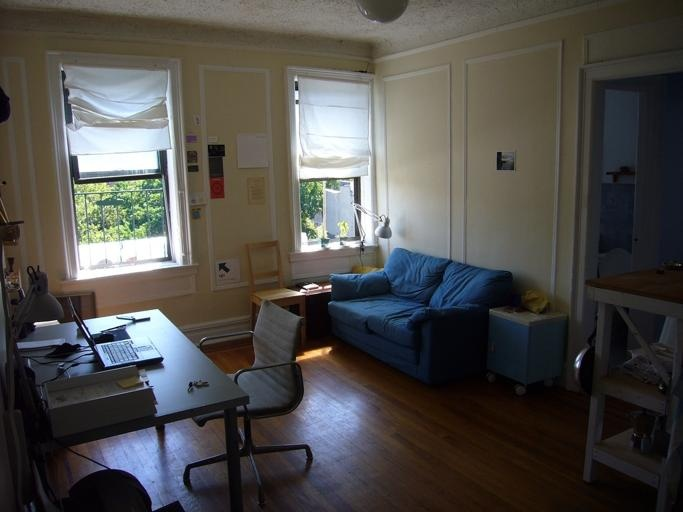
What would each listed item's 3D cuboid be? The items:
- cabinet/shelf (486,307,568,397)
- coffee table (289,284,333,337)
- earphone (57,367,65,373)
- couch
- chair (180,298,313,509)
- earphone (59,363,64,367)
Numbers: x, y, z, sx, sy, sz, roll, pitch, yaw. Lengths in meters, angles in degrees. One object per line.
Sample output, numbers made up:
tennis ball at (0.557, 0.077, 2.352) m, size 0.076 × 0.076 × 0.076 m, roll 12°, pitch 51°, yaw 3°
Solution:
cabinet/shelf at (1.602, 0.815, 4.987) m, size 0.694 × 0.910 × 0.637 m, roll -5°, pitch 11°, yaw -32°
coffee table at (-0.270, 0.622, 6.132) m, size 0.670 × 0.689 × 0.469 m, roll -1°, pitch 17°, yaw -5°
earphone at (-1.716, 0.692, 3.192) m, size 0.029 × 0.033 × 0.037 m, roll 4°, pitch -7°, yaw -30°
couch at (0.786, 0.553, 5.386) m, size 0.995 × 0.926 × 1.587 m, roll -12°, pitch 18°, yaw -35°
chair at (-0.681, 0.955, 4.114) m, size 1.120 × 1.429 × 1.148 m, roll -1°, pitch 7°, yaw -27°
earphone at (-1.753, 0.679, 3.272) m, size 0.020 × 0.021 × 0.011 m, roll 0°, pitch -7°, yaw -3°
